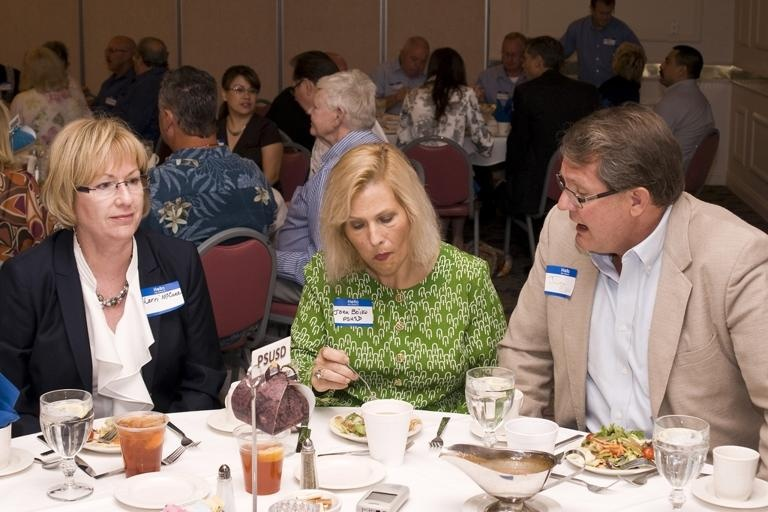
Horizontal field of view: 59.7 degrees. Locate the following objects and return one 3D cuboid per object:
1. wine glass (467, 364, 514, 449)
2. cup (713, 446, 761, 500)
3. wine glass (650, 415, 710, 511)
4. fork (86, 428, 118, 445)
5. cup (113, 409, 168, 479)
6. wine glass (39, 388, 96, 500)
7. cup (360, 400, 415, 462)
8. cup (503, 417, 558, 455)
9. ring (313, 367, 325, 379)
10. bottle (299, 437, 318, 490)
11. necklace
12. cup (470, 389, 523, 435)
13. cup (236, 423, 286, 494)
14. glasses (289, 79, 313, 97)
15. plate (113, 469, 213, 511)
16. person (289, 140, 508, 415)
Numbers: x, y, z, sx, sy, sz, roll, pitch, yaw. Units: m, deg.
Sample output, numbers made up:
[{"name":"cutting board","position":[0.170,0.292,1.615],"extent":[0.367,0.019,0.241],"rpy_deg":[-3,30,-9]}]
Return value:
[{"name":"wine glass","position":[0.278,0.411,1.761],"extent":[0.126,0.204,0.123],"rpy_deg":[0,3,-4]},{"name":"cup","position":[0.840,0.509,1.580],"extent":[0.122,0.117,0.073],"rpy_deg":[-1,5,-2]},{"name":"wine glass","position":[0.707,0.482,1.596],"extent":[0.116,0.215,0.202],"rpy_deg":[2,5,23]},{"name":"fork","position":[-0.767,0.485,1.826],"extent":[0.079,0.032,0.015],"rpy_deg":[10,-20,-8]},{"name":"cup","position":[-0.605,0.465,1.672],"extent":[0.141,0.167,0.144],"rpy_deg":[-1,-1,0]},{"name":"wine glass","position":[-0.799,0.458,1.685],"extent":[0.114,0.239,0.227],"rpy_deg":[-3,6,-29]},{"name":"cup","position":[0.010,0.457,1.787],"extent":[0.138,0.149,0.148],"rpy_deg":[-1,-3,0]},{"name":"cup","position":[0.363,0.423,1.633],"extent":[0.089,0.077,0.099],"rpy_deg":[-2,-2,-1]},{"name":"ring","position":[-0.195,0.351,2.007],"extent":[0.022,0.032,0.012],"rpy_deg":[2,6,18]},{"name":"bottle","position":[-0.185,0.499,1.635],"extent":[0.042,0.132,0.098],"rpy_deg":[-1,5,-6]},{"name":"necklace","position":[-0.952,0.049,2.266],"extent":[0.146,0.221,0.109],"rpy_deg":[-5,8,-7]},{"name":"cup","position":[0.303,0.440,1.927],"extent":[0.131,0.098,0.116],"rpy_deg":[6,-14,-3]},{"name":"cup","position":[-0.285,0.494,1.618],"extent":[0.141,0.146,0.146],"rpy_deg":[0,0,0]},{"name":"glasses","position":[-0.569,-1.195,4.810],"extent":[0.179,0.062,0.191],"rpy_deg":[-4,19,-27]},{"name":"plate","position":[-0.534,0.567,1.610],"extent":[0.218,0.051,0.129],"rpy_deg":[1,5,19]},{"name":"person","position":[0.042,0.107,2.300],"extent":[0.743,0.923,0.560],"rpy_deg":[-2,17,0]}]
